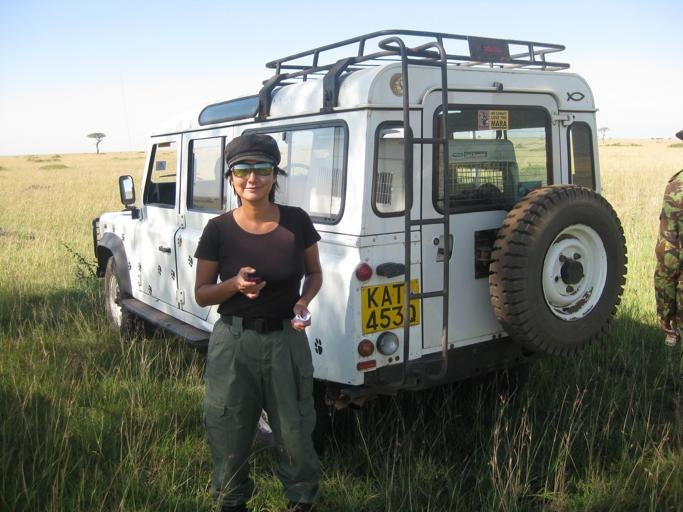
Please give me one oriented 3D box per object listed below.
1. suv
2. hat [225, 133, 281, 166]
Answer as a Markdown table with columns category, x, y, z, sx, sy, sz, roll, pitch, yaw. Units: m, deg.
| category | x | y | z | sx | sy | sz | roll | pitch | yaw |
| --- | --- | --- | --- | --- | --- | --- | --- | --- | --- |
| suv | -0.207 | -0.726 | 5.548 | 2.820 | 2.856 | 5.228 | -8 | 17 | -33 |
| hat | -0.541 | -0.650 | 3.109 | 0.319 | 0.206 | 0.185 | -3 | 11 | -11 |
